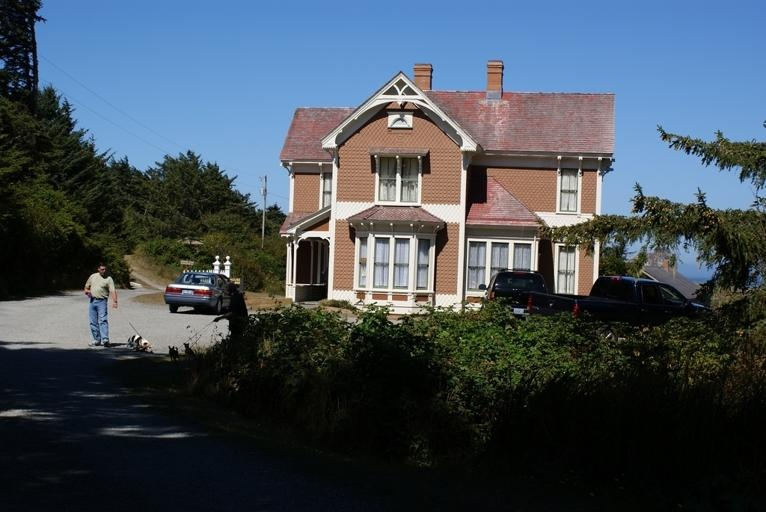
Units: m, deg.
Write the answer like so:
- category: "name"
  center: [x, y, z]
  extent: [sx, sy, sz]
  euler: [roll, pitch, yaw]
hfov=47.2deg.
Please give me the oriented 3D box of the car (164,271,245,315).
- category: "car"
  center: [-6.298, 1.479, 32.030]
  extent: [1.815, 1.323, 4.040]
  euler: [1, 5, 11]

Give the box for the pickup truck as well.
- category: "pickup truck"
  center: [6.165, 1.262, 24.104]
  extent: [4.514, 1.767, 2.107]
  euler: [-1, 3, -20]

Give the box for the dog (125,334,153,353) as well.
- category: "dog"
  center: [-5.964, 2.122, 21.533]
  extent: [0.318, 0.409, 0.947]
  euler: [3, 1, -44]

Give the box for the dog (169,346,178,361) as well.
- category: "dog"
  center: [-4.741, 2.202, 20.039]
  extent: [0.201, 0.265, 0.445]
  euler: [0, 5, -12]

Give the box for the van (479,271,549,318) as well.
- category: "van"
  center: [3.785, 1.090, 25.037]
  extent: [1.181, 0.859, 2.038]
  euler: [1, 3, 0]
